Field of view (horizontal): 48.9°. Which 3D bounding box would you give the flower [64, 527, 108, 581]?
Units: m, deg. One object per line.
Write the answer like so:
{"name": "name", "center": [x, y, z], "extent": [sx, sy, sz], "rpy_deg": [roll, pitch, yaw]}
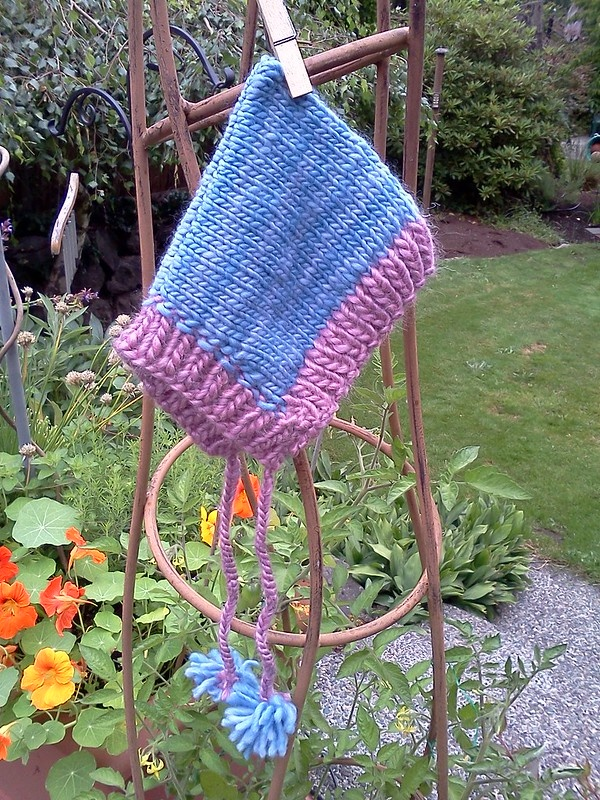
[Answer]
{"name": "flower", "center": [-0.392, 0.270, 1.205], "extent": [0.067, 0.111, 0.090], "rpy_deg": [0, 15, -16]}

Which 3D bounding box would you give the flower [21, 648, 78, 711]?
{"name": "flower", "center": [-0.372, 0.416, 1.000], "extent": [0.104, 0.089, 0.046], "rpy_deg": [-9, -31, 33]}

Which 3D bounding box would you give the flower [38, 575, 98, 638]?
{"name": "flower", "center": [-0.387, 0.336, 1.107], "extent": [0.115, 0.107, 0.084], "rpy_deg": [-4, -7, 43]}

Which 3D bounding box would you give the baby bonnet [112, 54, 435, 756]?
{"name": "baby bonnet", "center": [-0.018, 0.021, 0.555], "extent": [0.260, 0.573, 0.143], "rpy_deg": [4, 15, -4]}
